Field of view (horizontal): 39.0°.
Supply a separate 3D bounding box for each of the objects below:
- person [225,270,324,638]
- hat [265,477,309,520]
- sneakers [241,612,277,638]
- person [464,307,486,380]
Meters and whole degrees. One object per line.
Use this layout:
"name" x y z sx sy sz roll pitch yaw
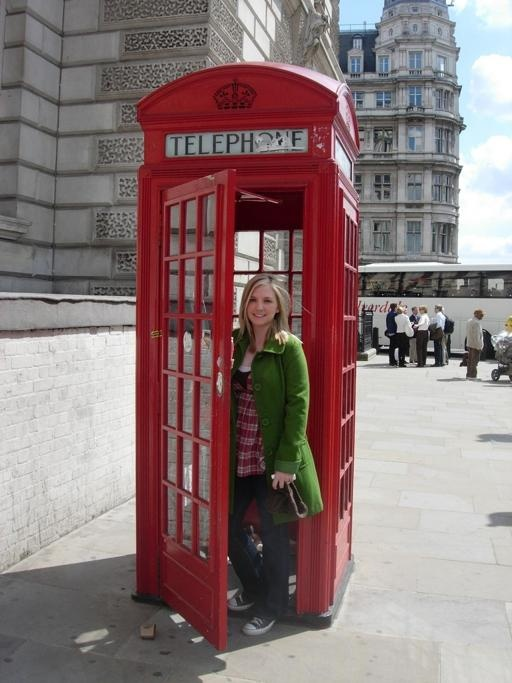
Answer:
"person" 0.054 0.547 3.552 0.501 1.736 0.363 2 2 33
"hat" 0.156 0.749 3.399 0.182 0.197 0.118 1 2 -1
"sneakers" 0.033 1.376 3.531 0.084 0.071 0.228 4 4 44
"person" 4.950 0.055 16.462 0.329 1.535 2.174 2 3 17
